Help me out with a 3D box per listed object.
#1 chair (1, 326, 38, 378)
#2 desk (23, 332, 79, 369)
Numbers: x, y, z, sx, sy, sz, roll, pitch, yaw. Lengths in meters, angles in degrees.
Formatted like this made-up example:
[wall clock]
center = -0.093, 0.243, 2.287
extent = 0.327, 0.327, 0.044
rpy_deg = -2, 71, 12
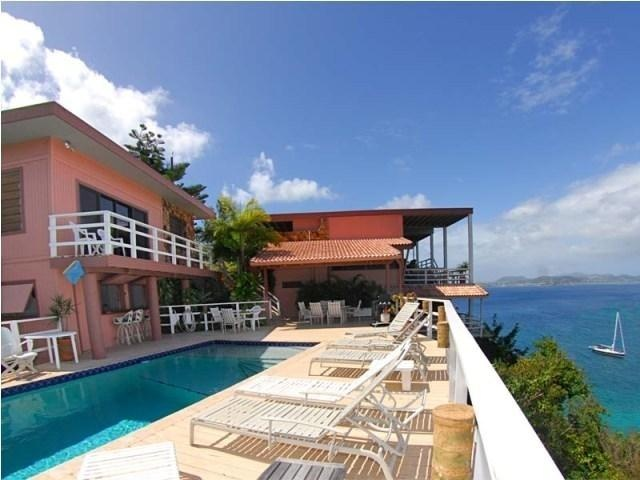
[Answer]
[chair]
center = -8.158, 3.000, 10.979
extent = 0.732, 1.343, 0.938
rpy_deg = -2, -9, -37
[desk]
center = -8.005, 3.247, 12.171
extent = 0.946, 1.130, 1.518
rpy_deg = 0, -11, -37
